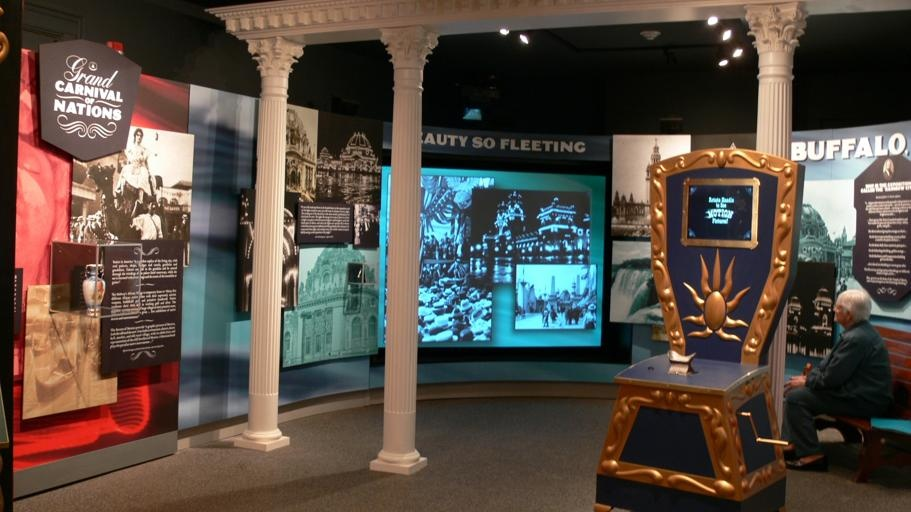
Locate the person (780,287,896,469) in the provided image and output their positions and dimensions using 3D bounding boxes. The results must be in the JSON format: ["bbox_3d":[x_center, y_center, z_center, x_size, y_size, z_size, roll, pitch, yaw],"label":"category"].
[{"bbox_3d":[4.591,1.653,7.909,1.281,1.785,0.456,0,7,-6],"label":"person"}]
